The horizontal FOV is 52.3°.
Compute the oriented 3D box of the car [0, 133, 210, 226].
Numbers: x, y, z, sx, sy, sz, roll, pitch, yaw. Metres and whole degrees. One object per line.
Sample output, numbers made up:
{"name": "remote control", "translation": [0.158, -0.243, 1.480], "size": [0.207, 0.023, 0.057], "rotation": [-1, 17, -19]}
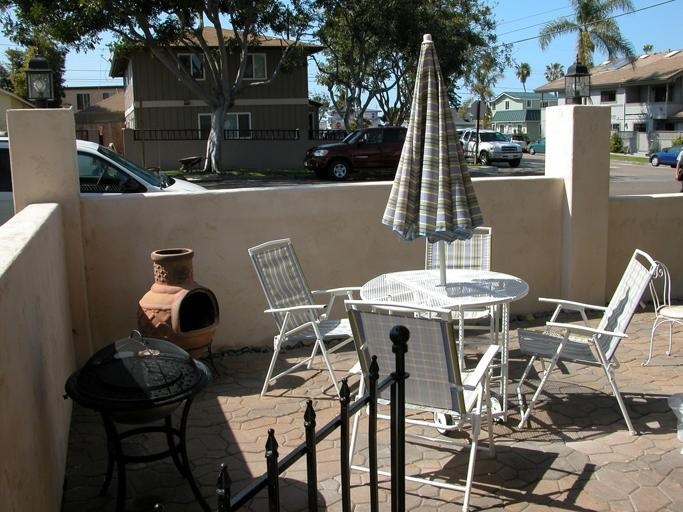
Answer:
{"name": "car", "translation": [-3.099, -1.039, 9.211], "size": [2.275, 1.324, 1.458], "rotation": [-6, 9, -12]}

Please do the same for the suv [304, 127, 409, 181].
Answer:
{"name": "suv", "translation": [0.411, -3.312, 22.518], "size": [3.264, 1.624, 1.667], "rotation": [-1, 10, -10]}

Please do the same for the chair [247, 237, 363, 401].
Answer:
{"name": "chair", "translation": [-0.449, 0.626, 6.870], "size": [0.906, 1.286, 0.925], "rotation": [6, 4, -1]}

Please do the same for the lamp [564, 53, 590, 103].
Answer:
{"name": "lamp", "translation": [2.899, -2.137, 8.561], "size": [0.280, 0.550, 0.587], "rotation": [0, 11, 19]}

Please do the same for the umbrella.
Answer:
{"name": "umbrella", "translation": [0.715, -1.009, 5.968], "size": [0.775, 1.771, 0.584], "rotation": [-6, 10, -15]}
